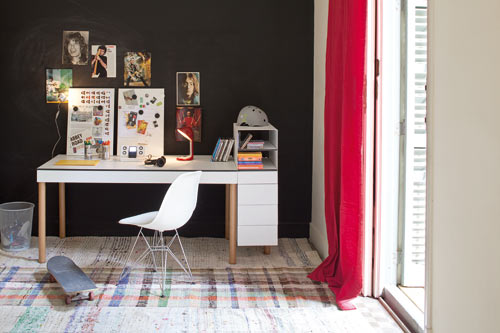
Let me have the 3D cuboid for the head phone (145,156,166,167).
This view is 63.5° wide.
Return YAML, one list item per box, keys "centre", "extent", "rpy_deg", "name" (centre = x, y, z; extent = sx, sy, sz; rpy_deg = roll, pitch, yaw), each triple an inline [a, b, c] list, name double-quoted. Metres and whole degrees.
- centre: [-0.966, -0.058, 4.124]
  extent: [0.165, 0.070, 0.119]
  rpy_deg: [0, 8, -18]
  name: "head phone"

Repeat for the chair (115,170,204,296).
- centre: [-0.826, 0.548, 3.693]
  extent: [0.722, 0.928, 0.609]
  rpy_deg: [-7, 13, -28]
  name: "chair"

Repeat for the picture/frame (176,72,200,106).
- centre: [-0.706, -0.886, 4.614]
  extent: [0.293, 0.373, 0.008]
  rpy_deg: [-9, 20, -35]
  name: "picture/frame"

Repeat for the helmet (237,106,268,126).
- centre: [0.023, -0.514, 4.218]
  extent: [0.257, 0.146, 0.241]
  rpy_deg: [7, 9, 10]
  name: "helmet"

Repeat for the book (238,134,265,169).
- centre: [0.002, -0.153, 4.158]
  extent: [0.269, 0.317, 0.290]
  rpy_deg: [-1, 13, 3]
  name: "book"

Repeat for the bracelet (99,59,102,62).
- centre: [-1.689, -1.210, 4.569]
  extent: [0.030, 0.028, 0.007]
  rpy_deg: [3, 1, -15]
  name: "bracelet"
